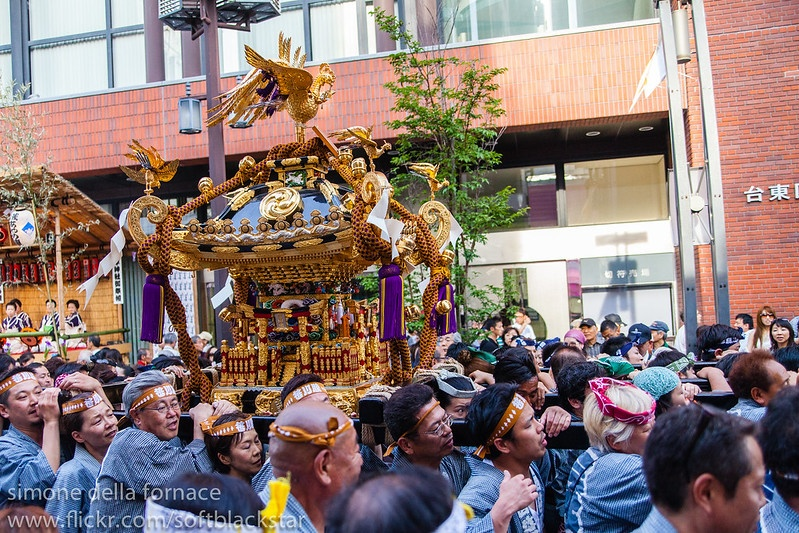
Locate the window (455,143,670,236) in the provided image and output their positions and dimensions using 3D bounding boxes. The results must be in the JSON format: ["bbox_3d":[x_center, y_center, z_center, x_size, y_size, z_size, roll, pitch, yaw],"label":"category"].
[{"bbox_3d":[3.790,-1.586,23.181,4.352,1.381,0.047,-5,11,-20],"label":"window"}]

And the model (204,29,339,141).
[{"bbox_3d":[-1.753,-2.330,14.973,1.984,1.307,2.294,-1,0,16],"label":"model"}]

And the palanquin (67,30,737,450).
[{"bbox_3d":[-1.135,-0.629,15.362,4.947,5.161,5.174,-1,3,40],"label":"palanquin"}]

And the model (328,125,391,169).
[{"bbox_3d":[-0.530,-1.686,14.495,0.736,0.397,0.749,-1,-12,20],"label":"model"}]

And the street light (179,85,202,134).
[{"bbox_3d":[-3.528,-2.633,17.838,0.408,0.748,0.387,-2,-2,24],"label":"street light"}]

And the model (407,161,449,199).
[{"bbox_3d":[0.498,-1.236,14.923,0.635,0.387,0.735,19,0,-11],"label":"model"}]

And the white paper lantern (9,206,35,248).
[{"bbox_3d":[-7.117,-0.769,20.141,0.475,0.701,0.622,-1,-5,-19],"label":"white paper lantern"}]

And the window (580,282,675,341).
[{"bbox_3d":[4.575,0.875,20.977,1.342,0.839,0.132,-1,-8,7],"label":"window"}]
